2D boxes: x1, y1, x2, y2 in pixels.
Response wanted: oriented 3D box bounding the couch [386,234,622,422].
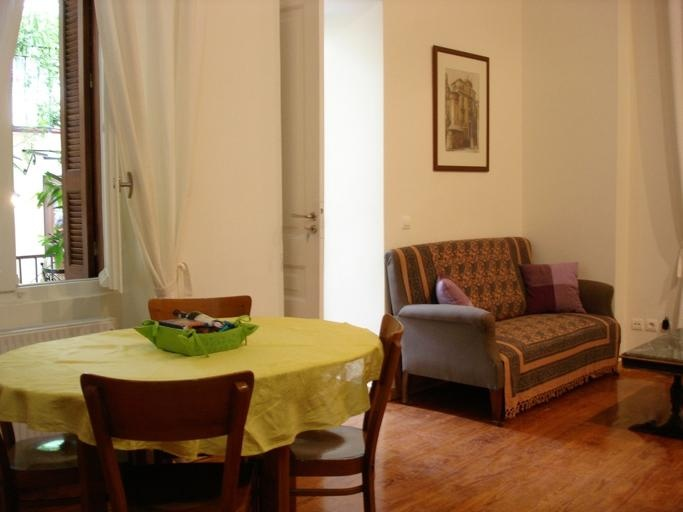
[{"bbox_3d":[1.424,0.469,4.624,1.904,1.168,1.032,-6,4,-39],"label":"couch"}]
